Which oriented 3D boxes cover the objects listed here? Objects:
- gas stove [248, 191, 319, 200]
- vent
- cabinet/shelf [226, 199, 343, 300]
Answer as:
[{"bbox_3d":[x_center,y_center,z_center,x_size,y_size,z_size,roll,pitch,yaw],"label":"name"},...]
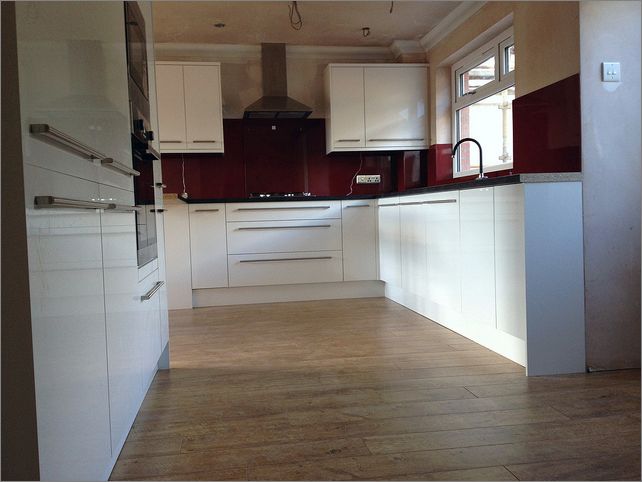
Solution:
[{"bbox_3d":[-0.419,-0.484,5.248,0.733,0.085,1.099,-2,5,-4],"label":"gas stove"},{"bbox_3d":[-0.525,-1.781,5.673,0.837,0.881,0.852,-3,-5,4],"label":"vent"},{"bbox_3d":[-0.349,0.039,5.046,1.287,0.955,0.721,-1,3,-3],"label":"cabinet/shelf"}]
